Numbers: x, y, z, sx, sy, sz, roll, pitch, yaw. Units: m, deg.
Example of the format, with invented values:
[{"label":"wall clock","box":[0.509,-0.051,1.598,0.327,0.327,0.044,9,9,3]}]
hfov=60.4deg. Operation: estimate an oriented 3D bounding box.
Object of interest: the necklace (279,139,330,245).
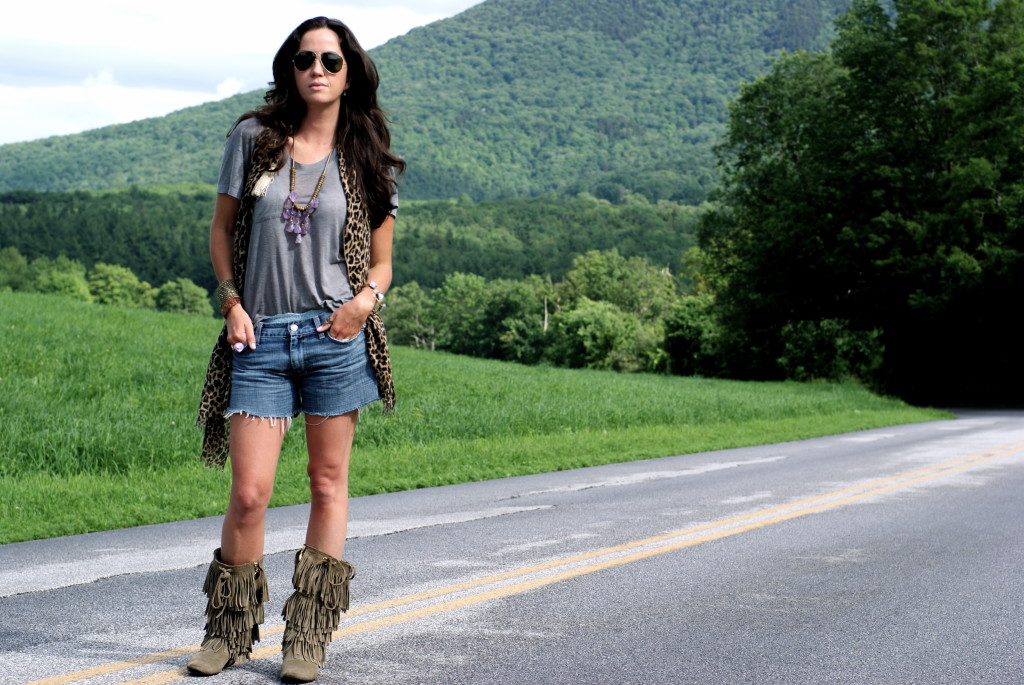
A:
[{"label":"necklace","box":[-1.336,-0.981,5.712,0.322,0.669,0.189,-1,5,-16]}]

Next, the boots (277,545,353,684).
[{"label":"boots","box":[-1.254,1.759,5.661,0.390,0.774,0.328,0,5,-7]}]

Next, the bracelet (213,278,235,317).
[{"label":"bracelet","box":[-1.851,-0.285,5.683,0.230,0.237,0.115,5,7,45]}]
